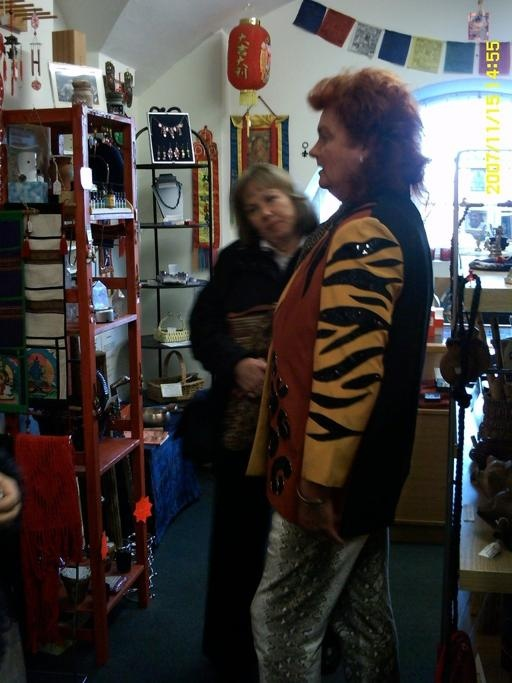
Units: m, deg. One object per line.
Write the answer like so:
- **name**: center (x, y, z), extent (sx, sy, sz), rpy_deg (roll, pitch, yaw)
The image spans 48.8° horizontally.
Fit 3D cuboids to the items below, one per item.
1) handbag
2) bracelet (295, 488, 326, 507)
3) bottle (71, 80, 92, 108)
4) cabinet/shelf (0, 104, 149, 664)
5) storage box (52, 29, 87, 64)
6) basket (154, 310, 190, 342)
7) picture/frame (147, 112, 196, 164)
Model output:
- **handbag**: center (-0.095, 0.230, 1.382), extent (0.147, 0.224, 0.216), rpy_deg (3, -6, -3)
- **bracelet**: center (0.075, 0.211, 0.762), extent (0.032, 0.008, 0.031), rpy_deg (15, -4, 12)
- **bottle**: center (-0.571, -0.812, 1.850), extent (0.059, 0.112, 0.125), rpy_deg (-3, 10, -18)
- **cabinet/shelf**: center (-0.589, 0.165, 2.037), extent (0.345, 1.883, 0.637), rpy_deg (-1, 9, -4)
- **storage box**: center (-0.724, -1.127, 2.185), extent (0.122, 0.145, 0.158), rpy_deg (-3, 10, -17)
- **basket**: center (-0.595, -0.077, 4.090), extent (0.259, 0.270, 0.251), rpy_deg (0, 0, -17)
- **picture/frame**: center (-0.554, -1.322, 3.673), extent (0.279, 0.367, 0.225), rpy_deg (-2, 9, -11)
